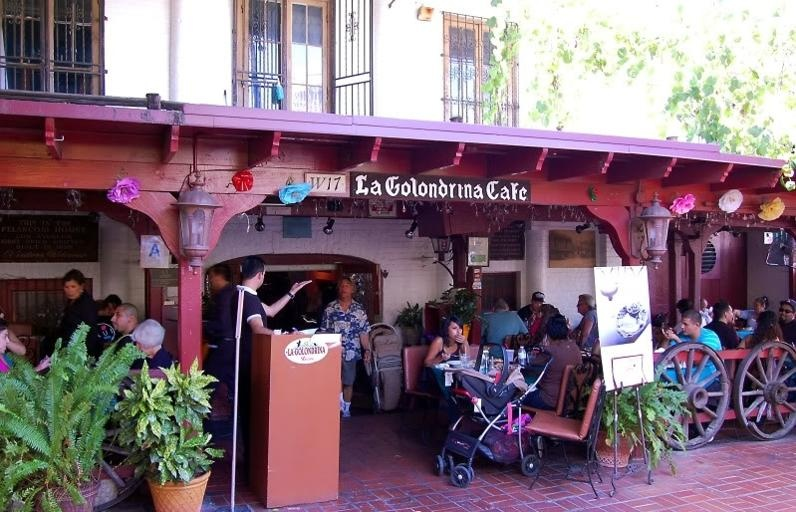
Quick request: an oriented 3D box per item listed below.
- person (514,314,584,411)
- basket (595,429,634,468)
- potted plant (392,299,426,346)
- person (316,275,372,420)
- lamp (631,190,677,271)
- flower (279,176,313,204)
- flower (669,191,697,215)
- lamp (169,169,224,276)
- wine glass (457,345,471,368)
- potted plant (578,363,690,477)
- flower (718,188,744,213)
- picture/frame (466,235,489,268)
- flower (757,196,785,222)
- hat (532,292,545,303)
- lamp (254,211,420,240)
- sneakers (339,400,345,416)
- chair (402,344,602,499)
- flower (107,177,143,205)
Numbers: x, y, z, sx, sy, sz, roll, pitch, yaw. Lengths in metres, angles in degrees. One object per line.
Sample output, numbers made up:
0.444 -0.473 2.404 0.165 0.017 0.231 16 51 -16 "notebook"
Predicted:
2.058 1.455 10.248 1.054 1.309 0.951 2 17 -5 "person"
2.912 2.677 9.719 0.523 0.406 0.526 0 -17 3 "basket"
0.353 1.385 14.699 0.695 0.937 0.701 3 -5 -16 "potted plant"
-0.787 1.502 12.109 0.728 2.251 0.677 -1 2 -26 "person"
3.969 -0.388 11.044 0.478 1.115 0.525 1 2 18 "lamp"
-1.359 -0.856 9.557 0.456 0.292 0.189 0 2 -10 "flower"
4.498 -0.752 11.264 0.397 0.388 0.197 -9 -39 15 "flower"
-2.526 -0.475 9.035 0.557 1.261 0.449 -1 2 -17 "lamp"
1.029 1.497 10.586 0.227 0.357 0.226 -2 3 -44 "wine glass"
3.091 2.219 9.951 1.321 1.504 1.302 6 -5 -26 "potted plant"
5.515 -0.933 11.861 0.346 0.361 0.239 1 2 18 "flower"
1.545 -0.101 13.946 0.607 0.622 0.079 2 1 -21 "picture/frame"
6.628 -0.847 12.641 0.417 0.369 0.735 1 2 29 "flower"
2.749 0.812 14.030 0.267 0.230 0.420 7 -7 13 "hat"
-0.937 -0.589 13.704 3.507 0.532 1.304 -1 2 -27 "lamp"
-0.887 2.518 11.836 0.075 0.201 0.174 0 2 -12 "sneakers"
1.419 2.060 9.645 2.458 1.840 1.267 5 -8 -18 "chair"
-3.402 -0.814 8.880 0.385 0.337 0.267 -1 2 -18 "flower"
